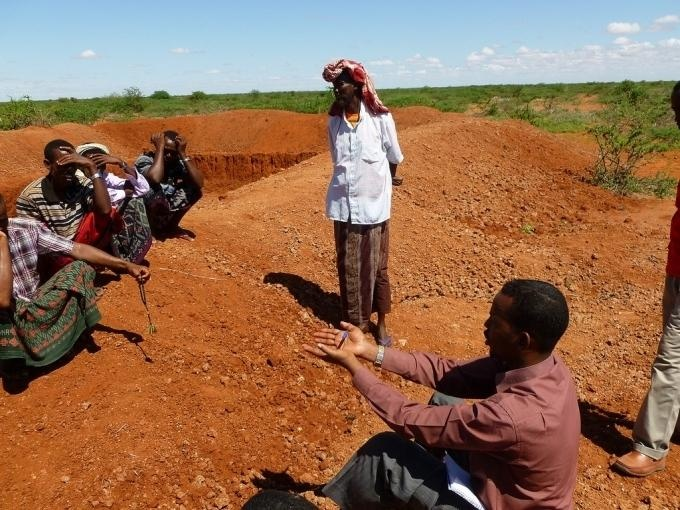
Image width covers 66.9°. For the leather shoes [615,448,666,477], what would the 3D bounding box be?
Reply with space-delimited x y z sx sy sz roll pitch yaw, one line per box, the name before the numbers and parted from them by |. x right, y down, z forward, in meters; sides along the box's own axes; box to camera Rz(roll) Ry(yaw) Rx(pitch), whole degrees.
leather shoes | 2.238 1.557 3.871 0.396 0.142 0.157 -1 6 -2
